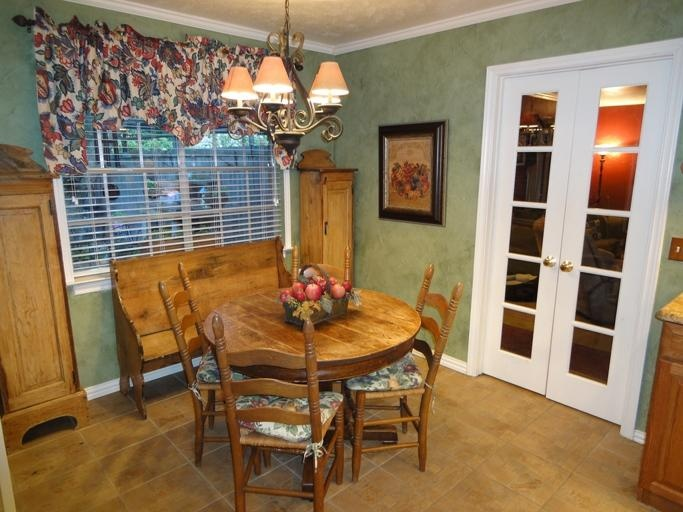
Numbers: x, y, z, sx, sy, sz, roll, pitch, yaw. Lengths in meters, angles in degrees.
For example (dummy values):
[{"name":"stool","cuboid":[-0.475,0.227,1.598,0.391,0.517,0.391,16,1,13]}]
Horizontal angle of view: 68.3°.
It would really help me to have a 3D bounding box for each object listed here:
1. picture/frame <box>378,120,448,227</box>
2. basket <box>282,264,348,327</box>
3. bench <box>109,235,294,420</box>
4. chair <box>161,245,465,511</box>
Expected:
[{"name":"picture/frame","cuboid":[0.733,-0.845,4.973,0.085,1.183,1.002,-6,9,-44]},{"name":"basket","cuboid":[-0.173,0.257,3.613,0.378,0.330,0.464,17,24,41]},{"name":"bench","cuboid":[-1.194,0.594,3.970,1.252,0.960,0.485,-18,28,-38]},{"name":"chair","cuboid":[-0.174,0.873,3.615,1.918,1.495,1.232,-7,14,-27]}]
